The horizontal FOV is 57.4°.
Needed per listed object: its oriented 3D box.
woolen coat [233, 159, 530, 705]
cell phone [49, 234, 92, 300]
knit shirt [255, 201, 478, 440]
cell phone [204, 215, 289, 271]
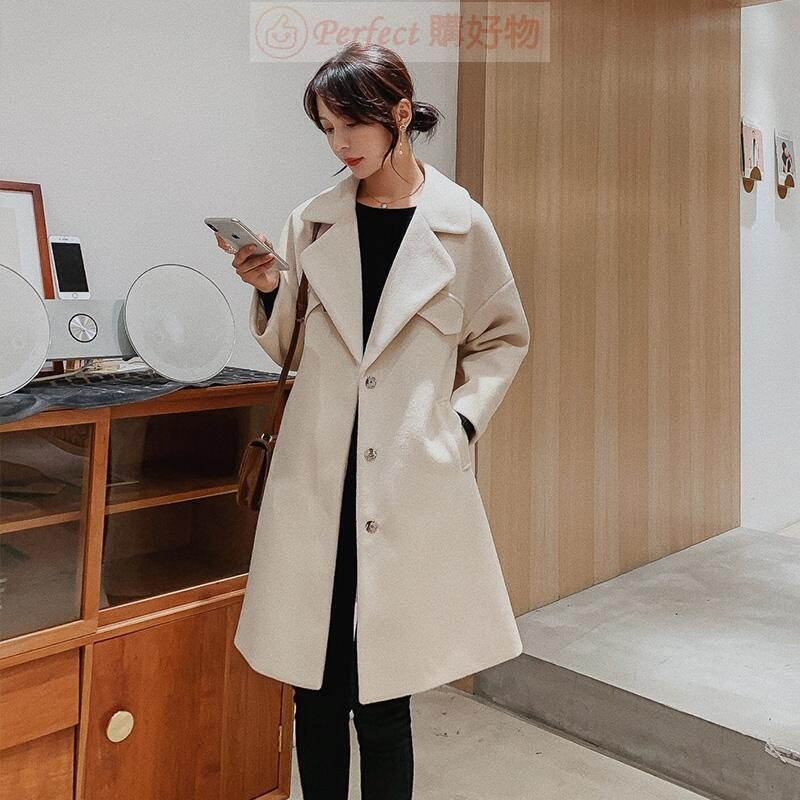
[{"bbox_3d":[-0.026,0.037,1.278,0.504,0.906,0.318,1,5,6],"label":"woolen coat"},{"bbox_3d":[-0.651,-0.257,1.445,0.063,0.126,0.011,1,25,0],"label":"cell phone"},{"bbox_3d":[-0.048,-0.137,1.257,0.336,0.377,0.105,5,-8,1],"label":"knit shirt"},{"bbox_3d":[-0.249,-0.260,1.194,0.121,0.091,0.166,0,6,-4],"label":"cell phone"}]
